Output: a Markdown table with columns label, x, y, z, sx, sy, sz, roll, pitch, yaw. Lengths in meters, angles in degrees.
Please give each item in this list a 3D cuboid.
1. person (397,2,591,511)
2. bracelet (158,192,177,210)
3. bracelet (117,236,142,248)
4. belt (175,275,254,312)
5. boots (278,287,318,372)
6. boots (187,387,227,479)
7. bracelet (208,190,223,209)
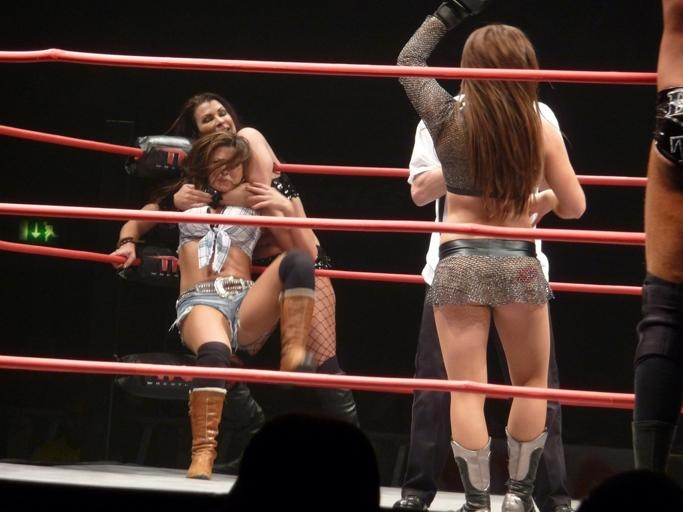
| label | x | y | z | sx | sy | sz | roll | pitch | yaw |
| --- | --- | --- | --- | --- | --- | --- | --- | --- | --- |
| person | 0.459 | -0.021 | 2.185 | 0.671 | 1.627 | 0.288 | 7 | -8 | -23 |
| bracelet | -0.764 | -0.241 | 3.020 | 0.085 | 0.084 | 0.095 | 7 | -22 | -6 |
| bracelet | -0.919 | -0.066 | 2.982 | 0.079 | 0.029 | 0.056 | -2 | -2 | 2 |
| belt | -0.479 | 0.138 | 2.585 | 0.202 | 0.058 | 0.155 | -10 | -13 | 29 |
| boots | -0.157 | 0.248 | 2.421 | 0.137 | 0.286 | 0.101 | 4 | -7 | 1 |
| boots | -0.463 | 0.584 | 2.313 | 0.114 | 0.298 | 0.244 | 5 | -7 | -11 |
| bracelet | -0.495 | -0.231 | 2.724 | 0.073 | 0.061 | 0.049 | 1 | 6 | -21 |
